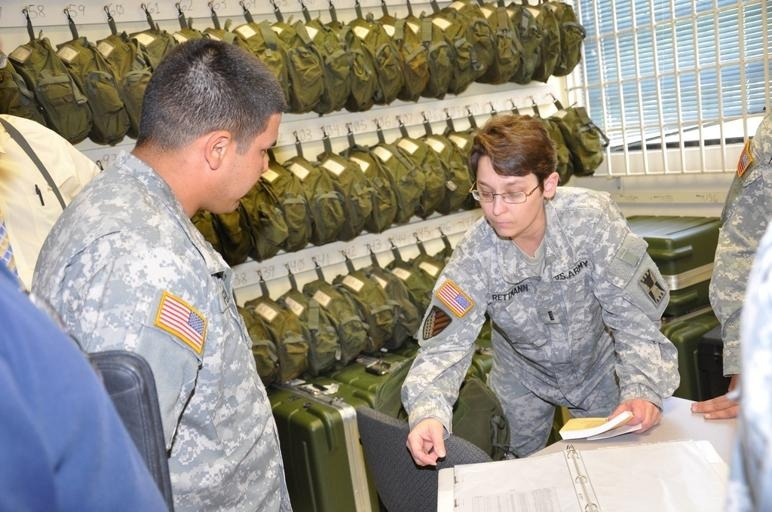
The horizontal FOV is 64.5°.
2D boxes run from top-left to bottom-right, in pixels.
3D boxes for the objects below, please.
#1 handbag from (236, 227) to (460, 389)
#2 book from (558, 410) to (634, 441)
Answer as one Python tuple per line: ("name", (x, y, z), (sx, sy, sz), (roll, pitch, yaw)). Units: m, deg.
("handbag", (-0.235, 0.290, 3.653), (1.072, 0.412, 0.679), (-20, 29, -20))
("book", (0.684, 0.559, 2.022), (0.167, 0.068, 0.132), (1, 4, 20))
